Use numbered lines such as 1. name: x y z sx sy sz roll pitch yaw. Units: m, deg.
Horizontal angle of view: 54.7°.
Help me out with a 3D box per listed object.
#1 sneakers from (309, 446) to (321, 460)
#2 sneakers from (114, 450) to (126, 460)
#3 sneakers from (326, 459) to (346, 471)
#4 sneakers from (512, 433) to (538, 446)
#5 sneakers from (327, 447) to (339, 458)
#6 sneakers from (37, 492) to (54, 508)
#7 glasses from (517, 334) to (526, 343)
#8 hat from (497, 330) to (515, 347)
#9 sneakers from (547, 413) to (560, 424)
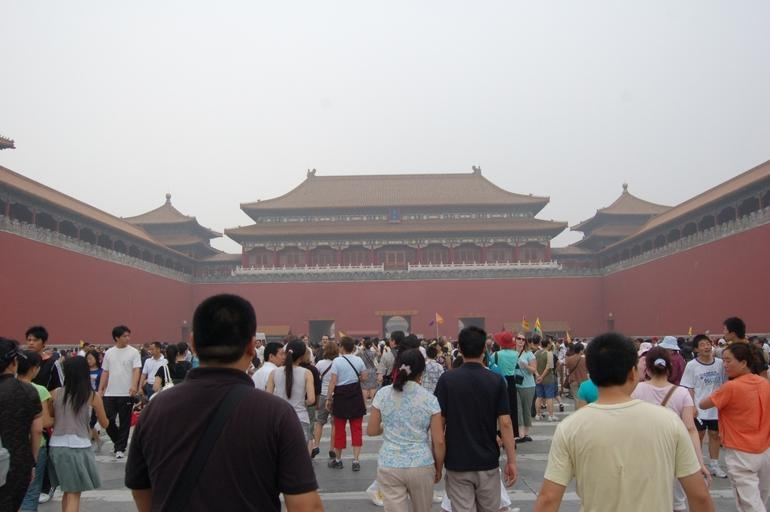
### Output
1. sneakers: -0.968 2.672 10.151 0.078 0.084 0.213 13 -57 -40
2. sneakers: -3.708 2.773 10.408 0.073 0.089 0.205 1 -8 -8
3. sneakers: -0.666 2.767 9.911 0.200 0.087 0.103 2 -2 20
4. sneakers: 2.082 2.694 11.029 0.360 0.153 0.125 -4 -3 15
5. sneakers: -0.704 2.661 10.104 0.083 0.099 0.234 -1 -23 -2
6. sneakers: -4.024 2.875 8.830 0.137 0.114 0.201 5 -14 -23
7. glasses: 2.095 1.250 11.383 0.096 0.111 0.137 0 -12 8
8. hat: 1.767 1.213 10.925 0.275 0.148 0.323 6 4 -3
9. sneakers: 2.927 2.761 12.762 0.290 0.134 0.102 5 0 -35
